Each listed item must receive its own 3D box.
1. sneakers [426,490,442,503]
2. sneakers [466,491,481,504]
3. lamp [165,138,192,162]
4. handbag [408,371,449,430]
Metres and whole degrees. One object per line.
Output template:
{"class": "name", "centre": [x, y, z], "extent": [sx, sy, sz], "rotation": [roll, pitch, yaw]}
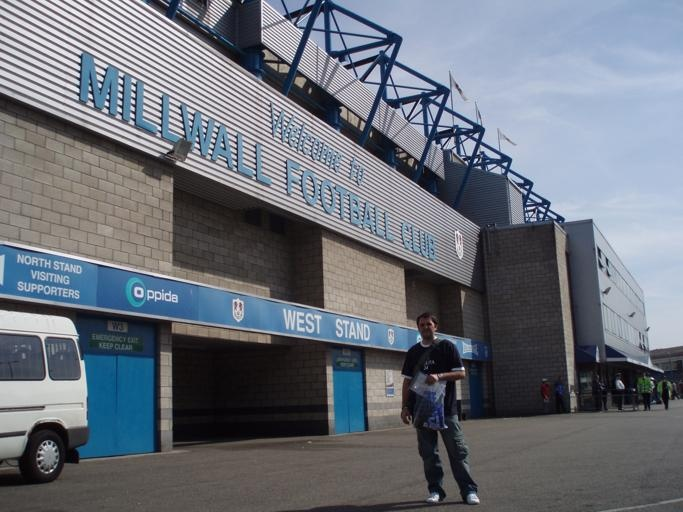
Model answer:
{"class": "sneakers", "centre": [1.190, 3.065, 7.526], "extent": [0.238, 0.125, 0.183], "rotation": [-2, -15, -5]}
{"class": "sneakers", "centre": [1.618, 2.980, 7.311], "extent": [0.173, 0.133, 0.176], "rotation": [-6, -15, 10]}
{"class": "lamp", "centre": [-4.572, -2.989, 16.439], "extent": [0.424, 0.545, 0.634], "rotation": [-15, -18, 41]}
{"class": "handbag", "centre": [1.140, 1.885, 7.670], "extent": [0.423, 0.678, 0.616], "rotation": [1, -10, -2]}
